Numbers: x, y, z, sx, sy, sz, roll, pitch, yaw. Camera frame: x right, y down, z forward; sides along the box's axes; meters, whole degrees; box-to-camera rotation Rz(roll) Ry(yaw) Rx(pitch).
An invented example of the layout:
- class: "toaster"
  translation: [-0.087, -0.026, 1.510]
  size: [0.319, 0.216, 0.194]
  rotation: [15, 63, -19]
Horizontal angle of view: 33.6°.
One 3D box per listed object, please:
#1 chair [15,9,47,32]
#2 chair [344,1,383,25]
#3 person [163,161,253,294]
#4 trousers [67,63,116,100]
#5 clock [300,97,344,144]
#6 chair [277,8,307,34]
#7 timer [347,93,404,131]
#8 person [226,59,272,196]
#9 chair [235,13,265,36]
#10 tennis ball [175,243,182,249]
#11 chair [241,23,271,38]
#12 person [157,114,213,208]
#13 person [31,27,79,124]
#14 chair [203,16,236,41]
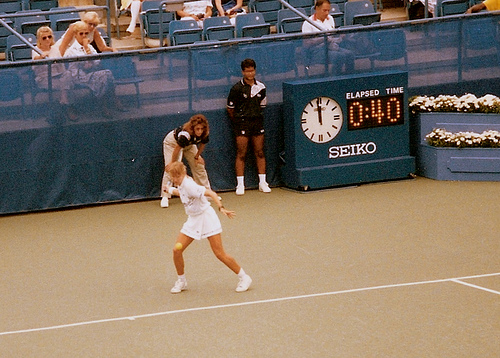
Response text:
- class: "chair"
  translation: [-4.883, -3.551, 18.395]
  size: [0.633, 0.635, 0.577]
  rotation: [-5, 11, -22]
- class: "chair"
  translation: [2.545, -3.514, 18.494]
  size: [0.764, 0.768, 0.656]
  rotation: [-7, 17, -17]
- class: "person"
  translation: [-0.704, 0.709, 12.044]
  size: [1.116, 1.984, 0.498]
  rotation: [-5, 12, -1]
- class: "trousers"
  translation: [-2.919, -1.796, 15.179]
  size: [0.773, 0.505, 0.495]
  rotation: [7, 37, -4]
- class: "clock"
  translation: [1.365, -1.125, 15.638]
  size: [0.824, 0.844, 0.105]
  rotation: [-8, 12, -15]
- class: "chair"
  translation: [0.962, -3.447, 18.319]
  size: [0.697, 0.720, 0.572]
  rotation: [-3, 9, -17]
- class: "timer"
  translation: [2.415, -1.294, 15.820]
  size: [1.116, 0.564, 0.139]
  rotation: [-8, 13, -15]
- class: "person"
  translation: [-0.032, -0.975, 15.535]
  size: [0.721, 2.546, 0.437]
  rotation: [-5, 12, -1]
- class: "chair"
  translation: [0.013, -3.446, 18.062]
  size: [0.573, 0.707, 0.515]
  rotation: [-6, 9, -19]
- class: "tennis ball"
  translation: [-1.031, 0.944, 11.953]
  size: [0.066, 0.067, 0.067]
  rotation: [32, 22, -14]
- class: "chair"
  translation: [0.108, -3.141, 17.507]
  size: [0.568, 0.290, 0.425]
  rotation: [-6, 23, -12]
- class: "person"
  translation: [-1.080, -0.499, 14.892]
  size: [0.977, 2.224, 0.826]
  rotation: [-5, 46, -16]
- class: "person"
  translation: [-3.641, -1.931, 15.340]
  size: [0.736, 1.729, 0.960]
  rotation: [-7, 12, -13]
- class: "chair"
  translation: [-0.651, -3.207, 17.746]
  size: [0.679, 0.680, 0.566]
  rotation: [-2, 3, -16]
